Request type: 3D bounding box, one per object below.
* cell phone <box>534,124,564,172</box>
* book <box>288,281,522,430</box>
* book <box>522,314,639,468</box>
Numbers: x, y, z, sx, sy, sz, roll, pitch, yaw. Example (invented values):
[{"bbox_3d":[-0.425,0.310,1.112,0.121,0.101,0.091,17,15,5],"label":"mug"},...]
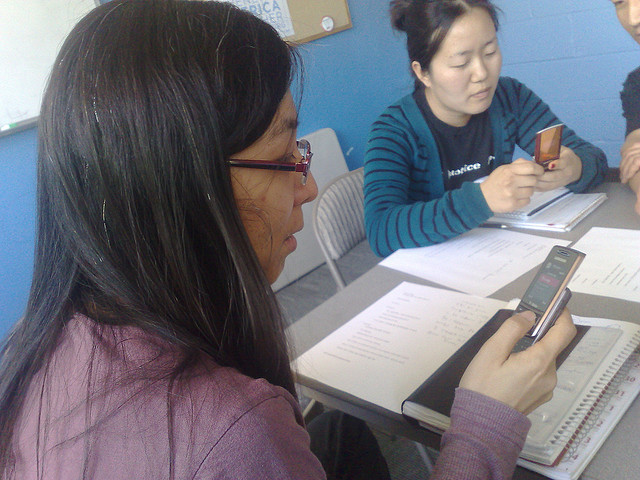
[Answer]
[{"bbox_3d":[0.585,-0.245,1.294,0.008,0.086,0.061,9,-1,-37],"label":"cell phone"},{"bbox_3d":[0.139,0.220,0.975,0.254,0.012,0.290,8,36,42],"label":"book"},{"bbox_3d":[0.396,0.222,0.781,0.162,0.039,0.215,11,56,45],"label":"book"}]
